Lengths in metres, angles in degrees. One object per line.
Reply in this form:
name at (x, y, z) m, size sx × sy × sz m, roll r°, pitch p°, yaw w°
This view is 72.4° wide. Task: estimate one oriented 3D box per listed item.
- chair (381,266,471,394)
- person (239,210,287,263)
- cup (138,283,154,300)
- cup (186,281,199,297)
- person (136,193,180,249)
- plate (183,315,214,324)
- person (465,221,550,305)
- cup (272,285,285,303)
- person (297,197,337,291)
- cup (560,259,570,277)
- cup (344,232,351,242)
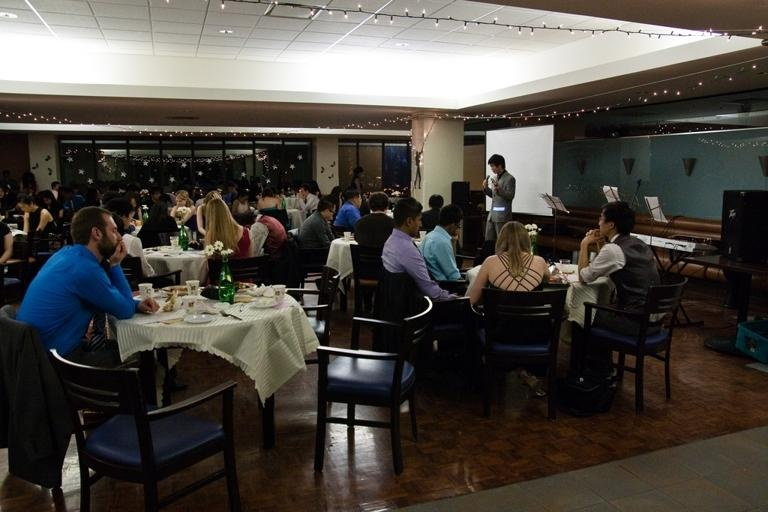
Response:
chair at (0.525, 0.633, 5.287) m, size 0.986 × 1.471 × 1.144 m, roll -2°, pitch 4°, yaw -2°
person at (-1.596, -0.231, 6.843) m, size 0.473 × 0.843 × 0.391 m, roll -4°, pitch 33°, yaw -8°
cup at (-1.859, 0.270, 4.120) m, size 0.131 × 0.139 × 0.131 m, roll 1°, pitch -1°, yaw 0°
cup at (-1.479, 0.251, 4.077) m, size 0.078 × 0.085 × 0.112 m, roll 2°, pitch -4°, yaw -35°
person at (-3.265, -0.545, 7.430) m, size 0.348 × 0.937 × 0.624 m, roll 8°, pitch -14°, yaw -17°
plate at (-1.340, 0.454, 3.812) m, size 0.210 × 0.044 × 0.114 m, roll -6°, pitch 13°, yaw -14°
person at (1.055, 0.012, 4.742) m, size 0.658 × 1.016 × 0.635 m, roll 2°, pitch 25°, yaw 7°
cup at (-0.824, 0.295, 4.149) m, size 0.121 × 0.129 × 0.117 m, roll 1°, pitch -7°, yaw 0°
person at (-0.894, -0.180, 7.465) m, size 0.788 × 1.258 × 0.875 m, roll -3°, pitch 15°, yaw -21°
cup at (1.863, 0.127, 5.381) m, size 0.132 × 0.142 × 0.135 m, roll 0°, pitch 0°, yaw 0°
cup at (-0.494, -0.271, 7.345) m, size 0.126 × 0.136 × 0.124 m, roll 1°, pitch 8°, yaw 0°
